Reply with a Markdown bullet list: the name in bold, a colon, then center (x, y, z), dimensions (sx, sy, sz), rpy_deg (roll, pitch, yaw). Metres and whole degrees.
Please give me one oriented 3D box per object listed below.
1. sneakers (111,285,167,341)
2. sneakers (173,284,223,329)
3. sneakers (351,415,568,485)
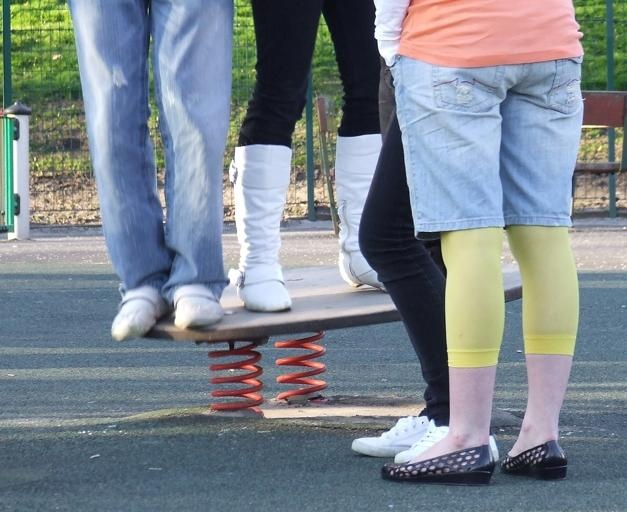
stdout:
- **sneakers**: center (-0.536, 0.171, 4.423), dimensions (0.154, 0.148, 0.166), rpy_deg (-1, 9, 1)
- **sneakers**: center (-0.352, 0.149, 4.402), dimensions (0.146, 0.116, 0.164), rpy_deg (-2, 9, -7)
- **sneakers**: center (0.452, 0.550, 4.177), dimensions (0.571, 0.148, 0.187), rpy_deg (0, -4, 7)
